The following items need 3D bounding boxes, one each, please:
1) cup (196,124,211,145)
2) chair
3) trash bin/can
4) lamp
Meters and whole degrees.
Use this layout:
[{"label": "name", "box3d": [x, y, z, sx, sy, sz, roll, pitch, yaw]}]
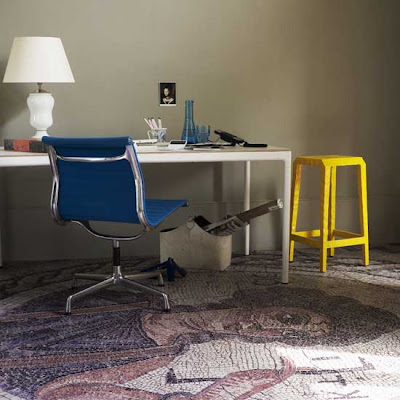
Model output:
[{"label": "cup", "box3d": [0.021, -0.425, 2.625, 0.118, 0.132, 0.111, 0, 10, 0]}, {"label": "chair", "box3d": [-0.424, -0.054, 1.966, 0.511, 0.487, 0.466, 2, 7, 20]}, {"label": "trash bin/can", "box3d": [-0.019, 0.185, 2.790, 0.603, 0.379, 0.326, 1, 0, 12]}, {"label": "lamp", "box3d": [-0.971, -0.686, 2.472, 0.291, 0.635, 0.287, 3, 8, 26]}]
